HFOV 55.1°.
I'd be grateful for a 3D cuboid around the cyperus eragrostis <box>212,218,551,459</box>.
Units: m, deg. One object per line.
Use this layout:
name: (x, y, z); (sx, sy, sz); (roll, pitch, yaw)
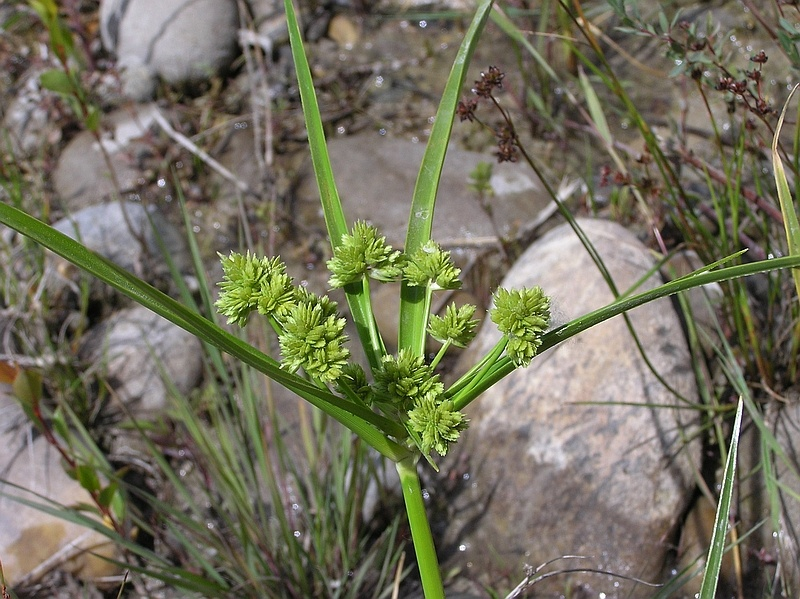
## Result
cyperus eragrostis: (-0.048, 0.090, 2.226); (0.916, 0.509, 0.532); (13, 56, 20)
